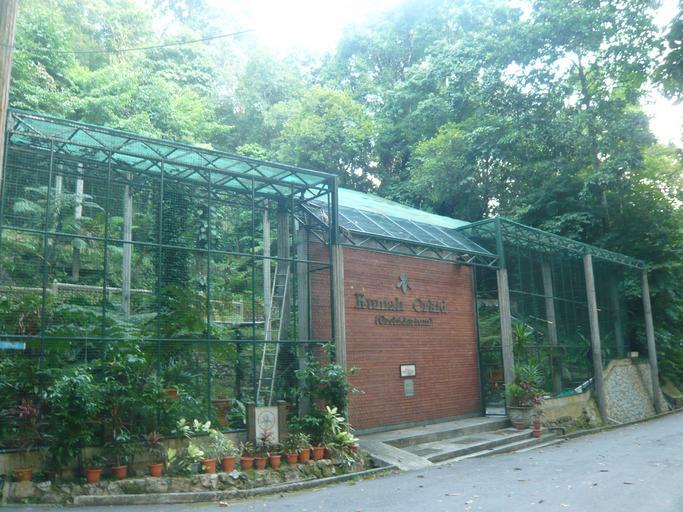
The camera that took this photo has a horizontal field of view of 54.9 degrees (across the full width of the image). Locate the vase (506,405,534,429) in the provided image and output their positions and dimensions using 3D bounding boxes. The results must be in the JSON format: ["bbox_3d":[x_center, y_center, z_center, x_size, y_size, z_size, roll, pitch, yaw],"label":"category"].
[{"bbox_3d":[6.784,5.976,24.782,0.840,0.572,0.812,2,-16,-5],"label":"vase"}]

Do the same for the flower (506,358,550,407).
[{"bbox_3d":[7.110,4.812,25.404,1.389,1.710,0.941,1,-2,-32],"label":"flower"}]
